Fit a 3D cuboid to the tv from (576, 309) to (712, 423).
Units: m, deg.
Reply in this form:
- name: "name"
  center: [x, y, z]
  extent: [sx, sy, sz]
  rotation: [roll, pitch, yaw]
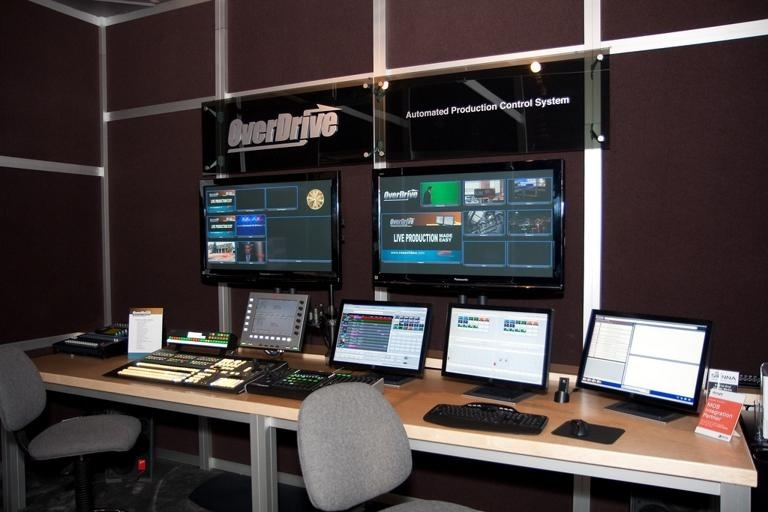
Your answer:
- name: "tv"
  center: [1.415, 0.612, 3.165]
  extent: [0.590, 0.491, 0.263]
  rotation: [0, -4, 39]

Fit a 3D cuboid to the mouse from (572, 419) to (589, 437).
- name: "mouse"
  center: [0.988, 0.869, 2.943]
  extent: [0.065, 0.069, 0.072]
  rotation: [4, -9, -21]

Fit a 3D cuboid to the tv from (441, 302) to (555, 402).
- name: "tv"
  center: [0.666, 0.570, 3.413]
  extent: [0.550, 0.431, 0.228]
  rotation: [1, -5, 25]
